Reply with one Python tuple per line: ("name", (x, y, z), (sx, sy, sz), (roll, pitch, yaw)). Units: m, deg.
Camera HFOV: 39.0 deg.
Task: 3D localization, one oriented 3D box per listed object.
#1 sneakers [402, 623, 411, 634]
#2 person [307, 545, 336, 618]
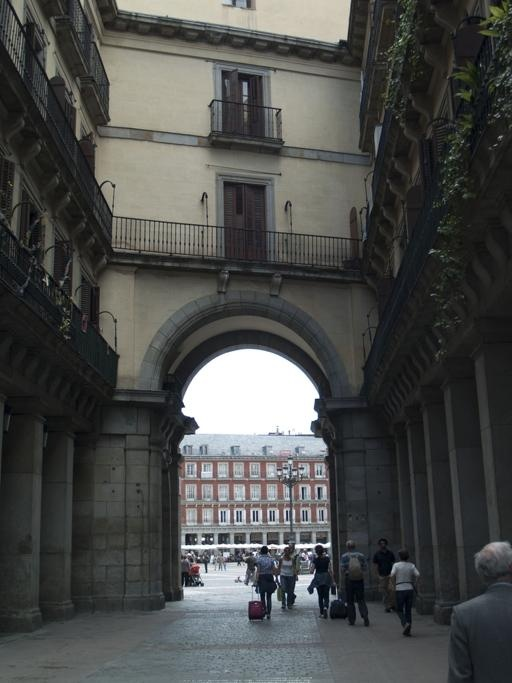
("sneakers", (2.289, 4.397, 10.931), (0.077, 0.093, 0.237), (5, -54, 13))
("person", (1.348, 5.063, 15.366), (0.475, 1.517, 0.438), (-5, 5, 2))
